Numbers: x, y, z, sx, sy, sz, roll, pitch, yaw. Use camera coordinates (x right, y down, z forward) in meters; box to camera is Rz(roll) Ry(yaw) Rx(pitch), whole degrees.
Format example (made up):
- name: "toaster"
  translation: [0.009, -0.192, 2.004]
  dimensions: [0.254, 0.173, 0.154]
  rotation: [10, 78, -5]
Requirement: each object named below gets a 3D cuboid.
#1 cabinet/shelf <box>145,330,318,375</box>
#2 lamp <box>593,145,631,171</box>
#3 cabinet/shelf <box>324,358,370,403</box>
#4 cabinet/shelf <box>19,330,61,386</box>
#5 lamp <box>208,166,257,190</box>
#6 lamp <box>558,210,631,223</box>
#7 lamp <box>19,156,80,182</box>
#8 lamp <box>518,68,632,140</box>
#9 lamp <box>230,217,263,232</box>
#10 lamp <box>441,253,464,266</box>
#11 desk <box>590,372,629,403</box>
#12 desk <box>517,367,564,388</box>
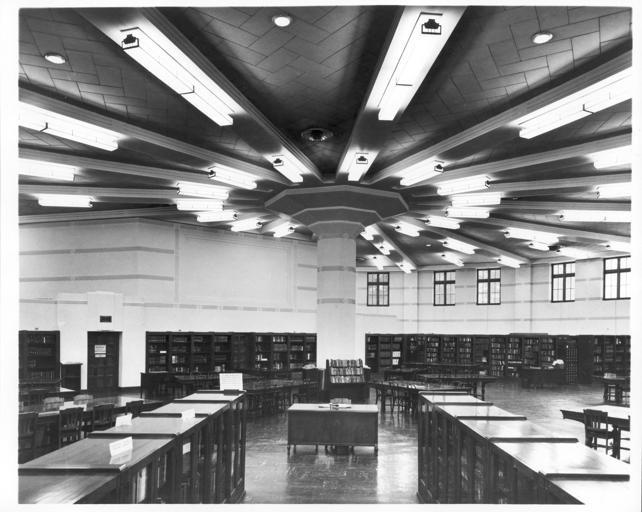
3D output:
- name: "cabinet/shelf"
  translation: [-2.884, 3.186, 17.633]
  dimensions: [5.664, 1.255, 0.919]
  rotation: [5, -6, -27]
- name: "lamp"
  translation: [5.098, -1.690, 9.379]
  dimensions: [0.613, 0.209, 1.178]
  rotation: [-1, -7, 27]
- name: "cabinet/shelf"
  translation: [0.618, 3.214, 13.629]
  dimensions: [1.087, 1.071, 0.373]
  rotation: [2, -4, 0]
- name: "cabinet/shelf"
  translation: [-7.776, 2.721, 14.775]
  dimensions: [1.042, 1.224, 0.690]
  rotation: [5, -5, -29]
- name: "lamp"
  translation: [-1.823, -1.600, 10.985]
  dimensions: [0.223, 0.311, 1.351]
  rotation: [-19, -12, 30]
- name: "lamp"
  translation: [6.655, -0.966, 12.939]
  dimensions: [0.717, 0.177, 0.788]
  rotation: [1, -4, 6]
- name: "lamp"
  translation: [-5.537, -1.701, 10.656]
  dimensions: [0.920, 0.244, 1.009]
  rotation: [-2, -3, 13]
- name: "lamp"
  translation: [3.498, -2.074, 7.376]
  dimensions: [0.536, 0.275, 1.795]
  rotation: [5, -7, -26]
- name: "lamp"
  translation: [-2.311, -1.024, 16.191]
  dimensions: [0.668, 0.155, 0.509]
  rotation: [-11, -16, 27]
- name: "lamp"
  translation: [5.519, 0.163, 22.187]
  dimensions: [1.160, 0.267, 0.546]
  rotation: [26, -13, -40]
- name: "desk"
  translation: [8.269, 3.804, 15.226]
  dimensions: [0.817, 0.877, 1.254]
  rotation: [1, -9, 3]
- name: "desk"
  translation: [7.938, 4.353, 19.117]
  dimensions: [1.715, 0.629, 0.489]
  rotation: [3, -5, -13]
